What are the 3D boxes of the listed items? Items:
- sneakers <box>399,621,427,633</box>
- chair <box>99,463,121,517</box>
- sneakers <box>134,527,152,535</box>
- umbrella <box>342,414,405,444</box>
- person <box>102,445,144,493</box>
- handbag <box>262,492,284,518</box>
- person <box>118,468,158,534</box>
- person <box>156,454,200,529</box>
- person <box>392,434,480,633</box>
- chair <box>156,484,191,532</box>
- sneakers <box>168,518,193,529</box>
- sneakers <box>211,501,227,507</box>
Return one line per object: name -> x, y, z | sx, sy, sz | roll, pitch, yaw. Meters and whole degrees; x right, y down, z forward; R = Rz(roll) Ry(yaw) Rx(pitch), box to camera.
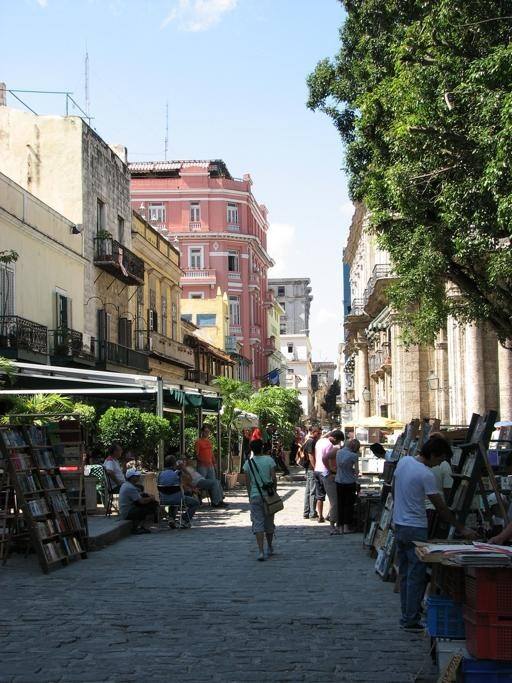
sneakers -> 1.189, 2.228, 6.013 | 0.199, 0.070, 0.167 | -5, -4, 21
chair -> -2.963, 3.187, 16.303 | 0.573, 0.923, 0.555 | 7, 0, 2
sneakers -> -2.054, 3.454, 14.108 | 0.310, 0.126, 0.108 | 4, 39, -2
umbrella -> 4.644, 3.365, 30.034 | 2.675, 0.903, 2.252 | -1, 1, -16
person -> -2.845, 2.775, 16.286 | 0.728, 1.170, 0.547 | 2, -7, -26
handbag -> 0.224, 2.348, 11.073 | 0.266, 0.321, 0.270 | -3, -4, -2
person -> -2.242, 3.024, 14.738 | 0.672, 1.172, 1.370 | -3, -4, -3
person -> -1.554, 2.926, 15.225 | 0.745, 1.395, 1.036 | -3, -4, -6
person -> 1.285, 1.507, 6.070 | 0.350, 1.484, 0.772 | -2, -4, -24
chair -> -1.591, 3.205, 15.282 | 0.741, 0.943, 0.723 | 1, 0, -27
sneakers -> -1.451, 3.515, 14.795 | 0.452, 0.201, 0.155 | 12, -13, -9
sneakers -> -0.897, 4.020, 19.028 | 0.417, 0.186, 0.143 | -1, 1, 4
